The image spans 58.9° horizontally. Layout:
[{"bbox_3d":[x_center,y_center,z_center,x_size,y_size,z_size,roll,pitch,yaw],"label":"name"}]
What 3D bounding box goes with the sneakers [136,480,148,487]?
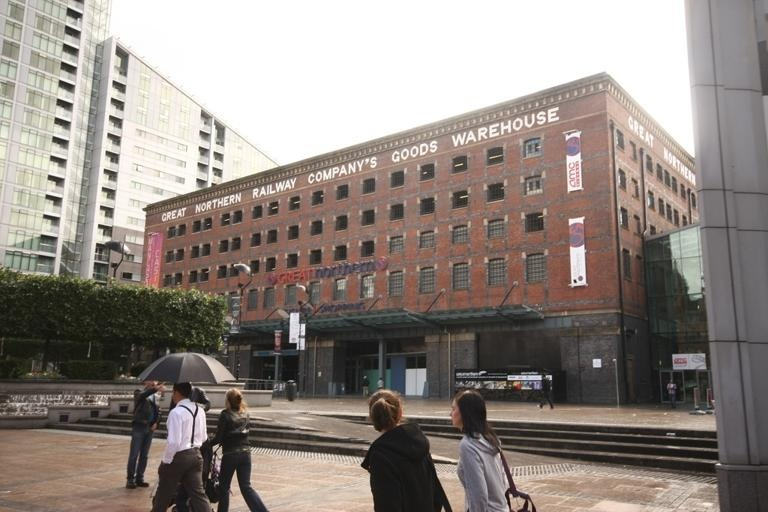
[{"bbox_3d":[-5.972,5.601,16.684,0.324,0.119,0.107,3,-12,-6],"label":"sneakers"}]
